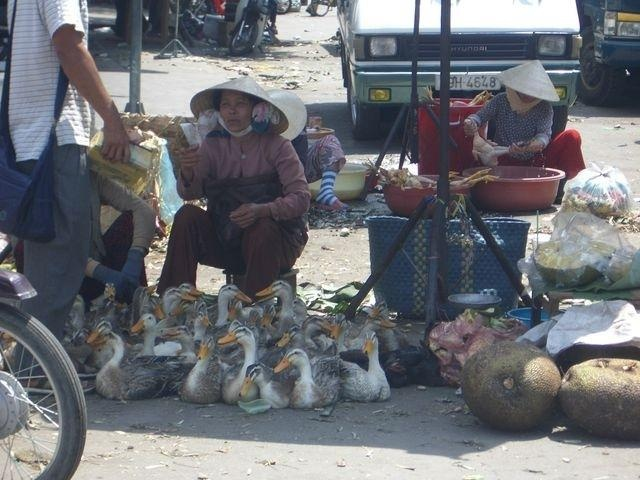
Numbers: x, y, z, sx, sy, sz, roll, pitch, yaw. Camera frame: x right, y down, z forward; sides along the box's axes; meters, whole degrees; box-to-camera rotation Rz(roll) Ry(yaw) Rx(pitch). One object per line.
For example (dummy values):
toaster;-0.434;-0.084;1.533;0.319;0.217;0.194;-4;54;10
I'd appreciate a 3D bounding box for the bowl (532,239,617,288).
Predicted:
bowl;1.613;0.151;6.354;0.503;0.288;0.328;10;17;16

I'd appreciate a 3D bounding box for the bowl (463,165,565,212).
bowl;1.969;-0.489;9.635;0.584;0.221;0.592;0;11;0

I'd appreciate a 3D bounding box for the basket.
basket;0.930;0.187;7.237;0.925;0.613;0.762;1;-3;2

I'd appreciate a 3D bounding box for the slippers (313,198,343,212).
slippers;0.112;-0.348;9.855;0.283;0.109;0.129;-5;-35;38

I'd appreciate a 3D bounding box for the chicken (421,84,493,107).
chicken;1.411;-1.458;10.180;0.521;0.190;0.545;0;9;2

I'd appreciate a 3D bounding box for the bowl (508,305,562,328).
bowl;1.474;0.508;7.043;0.182;0.160;0.204;-4;5;-39

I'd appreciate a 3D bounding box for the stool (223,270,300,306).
stool;-0.369;0.297;7.403;0.352;0.348;0.242;0;1;4

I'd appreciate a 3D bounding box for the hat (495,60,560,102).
hat;1.957;-1.487;9.321;0.443;0.196;0.449;3;33;-37

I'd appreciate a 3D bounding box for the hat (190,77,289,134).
hat;-0.585;-1.027;7.017;0.448;0.203;0.455;11;-11;-23
